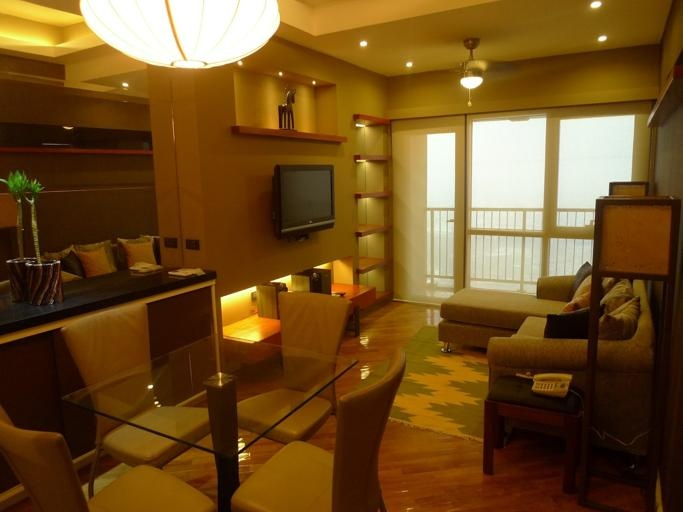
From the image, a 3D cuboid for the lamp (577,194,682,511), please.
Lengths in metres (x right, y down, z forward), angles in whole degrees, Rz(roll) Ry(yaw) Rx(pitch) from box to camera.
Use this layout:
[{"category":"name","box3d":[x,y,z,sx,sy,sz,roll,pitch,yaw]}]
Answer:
[{"category":"lamp","box3d":[1.824,0.562,3.458,0.522,1.887,0.892,5,15,25]}]

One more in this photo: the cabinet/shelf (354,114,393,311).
[{"category":"cabinet/shelf","box3d":[0.415,-0.561,7.070,0.433,2.489,0.963,3,14,14]}]

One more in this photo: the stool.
[{"category":"stool","box3d":[1.331,1.215,3.843,0.636,0.727,0.646,2,5,23]}]

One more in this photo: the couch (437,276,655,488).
[{"category":"couch","box3d":[1.565,0.821,4.081,1.178,0.706,1.924,3,10,23]}]

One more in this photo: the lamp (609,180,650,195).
[{"category":"lamp","box3d":[3.029,-0.719,5.730,0.361,0.132,0.301,9,17,36]}]
